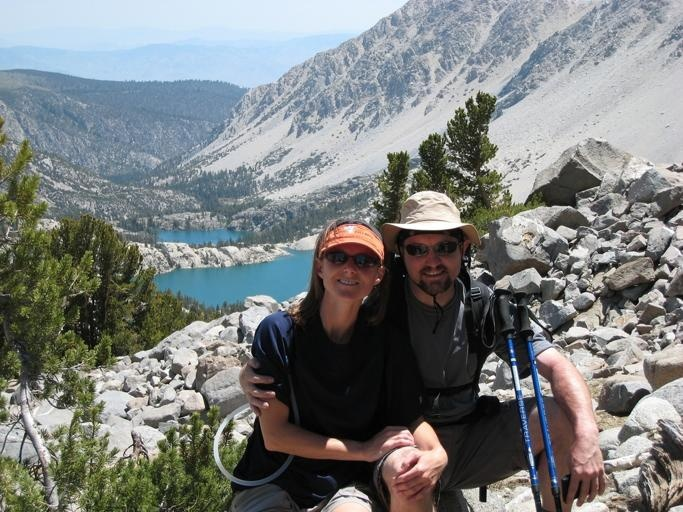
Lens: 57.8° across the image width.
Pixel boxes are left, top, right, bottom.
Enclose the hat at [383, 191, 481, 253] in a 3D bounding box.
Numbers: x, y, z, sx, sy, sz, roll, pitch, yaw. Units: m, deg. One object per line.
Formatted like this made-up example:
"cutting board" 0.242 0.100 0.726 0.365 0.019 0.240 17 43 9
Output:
"hat" 1.042 -0.445 7.518 0.761 0.484 0.897 -1 -19 6
